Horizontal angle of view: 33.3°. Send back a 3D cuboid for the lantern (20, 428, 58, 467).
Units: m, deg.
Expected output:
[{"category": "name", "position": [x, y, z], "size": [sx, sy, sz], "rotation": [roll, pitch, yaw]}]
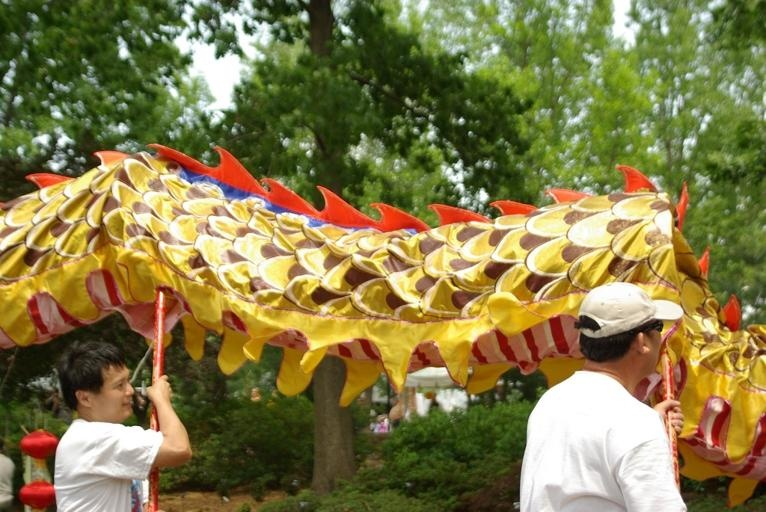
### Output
[{"category": "lantern", "position": [-4.465, 2.503, 16.667], "size": [0.504, 0.406, 0.467], "rotation": [0, -19, 3]}]
